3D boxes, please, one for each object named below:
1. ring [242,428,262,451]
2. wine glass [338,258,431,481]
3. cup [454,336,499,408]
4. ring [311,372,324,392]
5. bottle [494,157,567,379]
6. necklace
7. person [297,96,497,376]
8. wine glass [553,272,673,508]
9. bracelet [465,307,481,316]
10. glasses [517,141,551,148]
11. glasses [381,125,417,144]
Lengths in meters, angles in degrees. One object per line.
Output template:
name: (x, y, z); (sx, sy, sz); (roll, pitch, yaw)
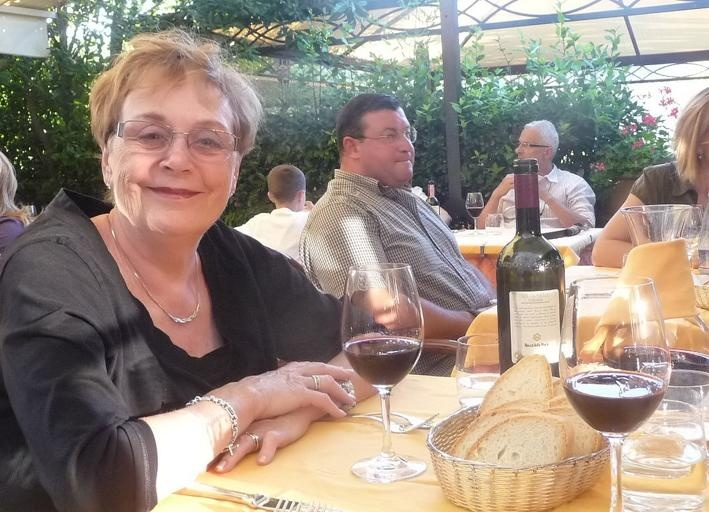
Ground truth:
ring: (-0.216, 0.391, 1.212); (0.033, 0.028, 0.043); (3, 3, 2)
wine glass: (0.057, 0.210, 1.121); (0.177, 0.378, 0.180); (-3, 1, -22)
cup: (0.264, 0.245, 1.288); (0.087, 0.166, 0.092); (0, 5, 0)
ring: (-0.092, 0.316, 1.420); (0.030, 0.030, 0.025); (-1, 2, -20)
bottle: (0.367, 0.029, 1.266); (0.138, 0.486, 0.157); (5, 9, 28)
necklace: (-0.548, 0.028, 1.625); (0.208, 0.320, 0.219); (-6, 10, -35)
person: (0.214, -0.170, 3.001); (0.992, 1.449, 0.933); (1, 7, 33)
wine glass: (0.402, 0.236, 0.912); (0.123, 0.402, 0.122); (-3, 10, -19)
bracelet: (0.645, 0.298, 3.096); (0.073, 0.027, 0.073); (-8, 15, -44)
glasses: (1.763, -1.091, 5.577); (0.287, 0.065, 0.157); (1, 10, 17)
glasses: (0.248, -0.700, 3.282); (0.194, 0.063, 0.189); (1, 3, 25)
